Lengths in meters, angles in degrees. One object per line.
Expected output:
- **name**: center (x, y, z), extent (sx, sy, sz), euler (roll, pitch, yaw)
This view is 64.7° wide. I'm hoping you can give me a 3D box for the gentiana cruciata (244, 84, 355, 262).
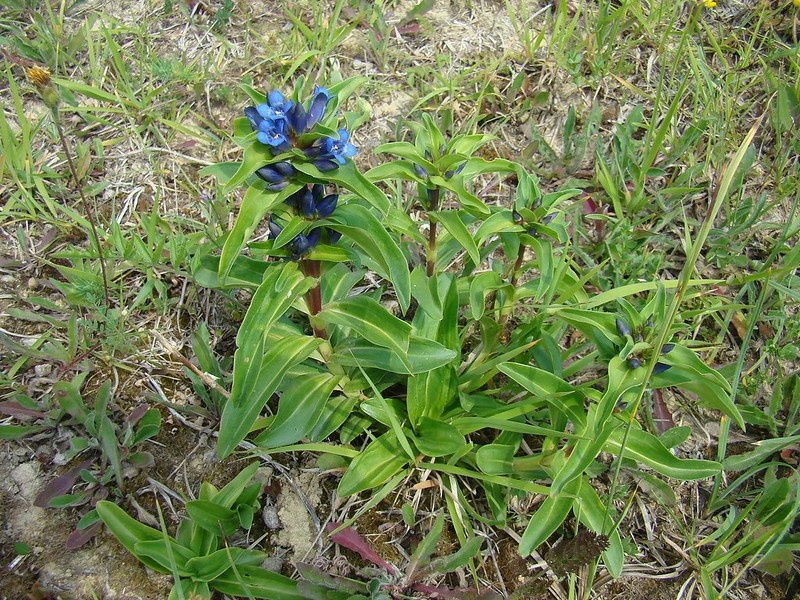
- **gentiana cruciata**: center (-0.473, -0.589, 3.012), extent (0.532, 0.629, 0.594), euler (37, 71, 2)
